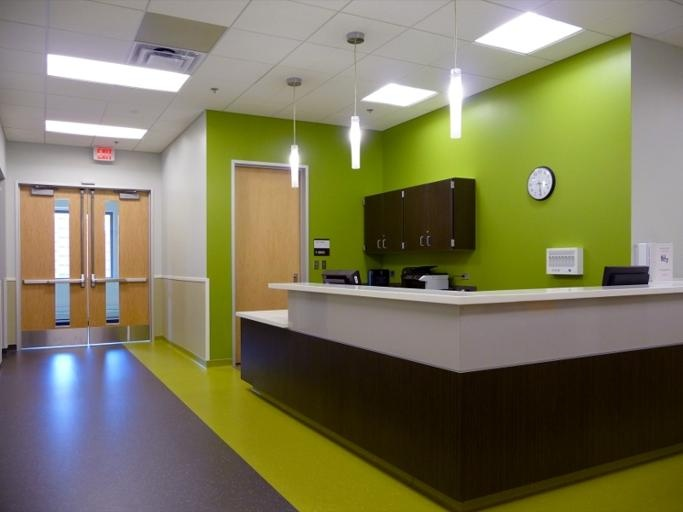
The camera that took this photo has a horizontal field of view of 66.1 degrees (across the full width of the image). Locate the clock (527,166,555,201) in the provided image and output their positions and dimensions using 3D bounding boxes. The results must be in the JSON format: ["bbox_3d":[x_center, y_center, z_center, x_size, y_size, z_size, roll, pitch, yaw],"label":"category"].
[{"bbox_3d":[2.287,-0.827,5.974,0.055,0.445,0.385,2,-3,-27],"label":"clock"}]

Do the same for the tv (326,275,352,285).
[{"bbox_3d":[-0.066,0.230,5.391,0.135,0.096,0.475,-3,3,-32],"label":"tv"}]

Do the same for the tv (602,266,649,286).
[{"bbox_3d":[2.507,0.167,4.602,0.569,0.167,0.175,-3,4,-37],"label":"tv"}]
